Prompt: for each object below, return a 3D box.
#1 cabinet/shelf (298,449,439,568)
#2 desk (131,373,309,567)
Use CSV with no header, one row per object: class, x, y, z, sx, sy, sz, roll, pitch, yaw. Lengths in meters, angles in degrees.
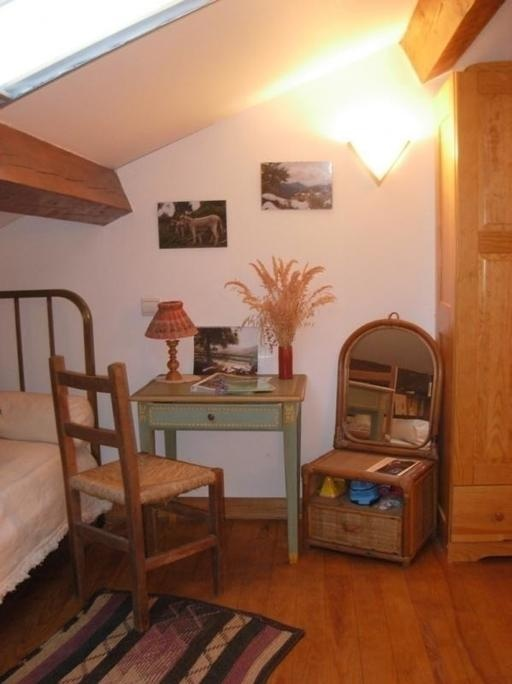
cabinet/shelf,0.506,0.715,2.480,0.511,0.389,0.416,1,4,27
desk,-0.143,0.472,2.582,0.740,0.596,0.548,-1,9,4
